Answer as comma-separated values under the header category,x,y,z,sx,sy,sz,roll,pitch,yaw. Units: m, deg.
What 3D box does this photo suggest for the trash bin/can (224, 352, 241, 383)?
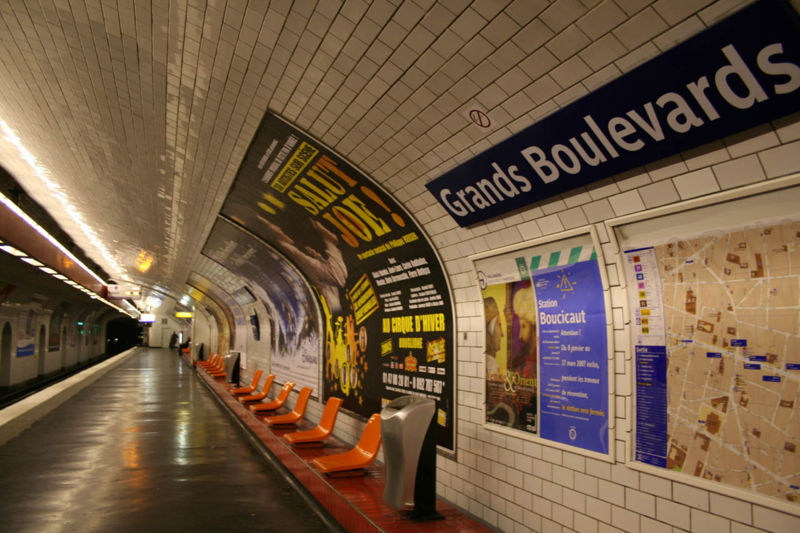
category,x,y,z,sx,sy,sz,roll,pitch,yaw
trash bin/can,-6.721,4.115,17.578,0.482,1.386,1.137,6,-12,-33
